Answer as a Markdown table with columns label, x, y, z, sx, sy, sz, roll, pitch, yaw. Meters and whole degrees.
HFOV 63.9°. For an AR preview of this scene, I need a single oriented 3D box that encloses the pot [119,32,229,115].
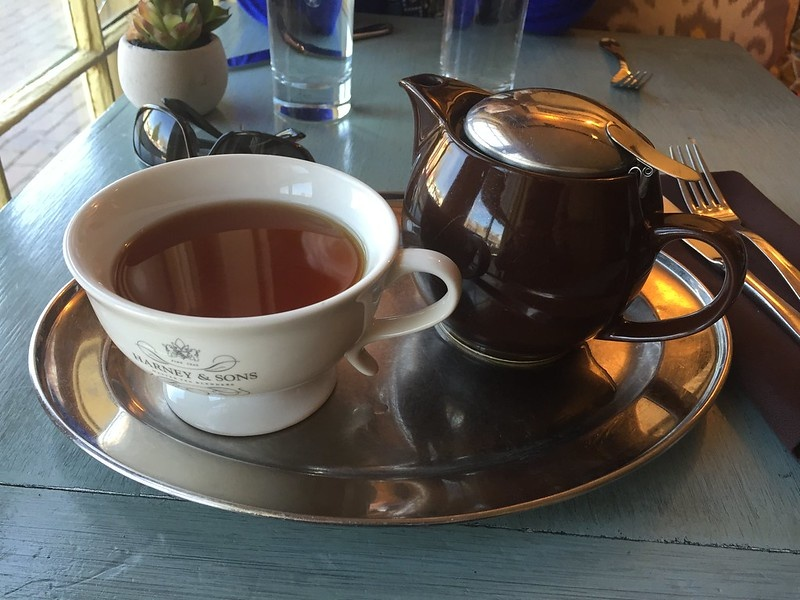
| label | x | y | z | sx | sy | sz | roll | pitch | yaw |
| --- | --- | --- | --- | --- | --- | --- | --- | --- | --- |
| pot | -0.305 | -0.314 | 0.875 | 0.137 | 0.081 | 0.135 | 1 | 36 | 0 |

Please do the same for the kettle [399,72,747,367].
| label | x | y | z | sx | sy | sz | roll | pitch | yaw |
| --- | --- | --- | --- | --- | --- | --- | --- | --- | --- |
| kettle | 0.134 | -0.061 | 0.544 | 0.288 | 0.210 | 0.218 | 22 | 40 | 22 |

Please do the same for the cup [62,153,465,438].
| label | x | y | z | sx | sy | sz | roll | pitch | yaw |
| --- | --- | --- | --- | --- | --- | --- | --- | --- | --- |
| cup | -0.104 | 0.009 | 0.544 | 0.300 | 0.145 | 0.216 | 13 | 43 | 9 |
